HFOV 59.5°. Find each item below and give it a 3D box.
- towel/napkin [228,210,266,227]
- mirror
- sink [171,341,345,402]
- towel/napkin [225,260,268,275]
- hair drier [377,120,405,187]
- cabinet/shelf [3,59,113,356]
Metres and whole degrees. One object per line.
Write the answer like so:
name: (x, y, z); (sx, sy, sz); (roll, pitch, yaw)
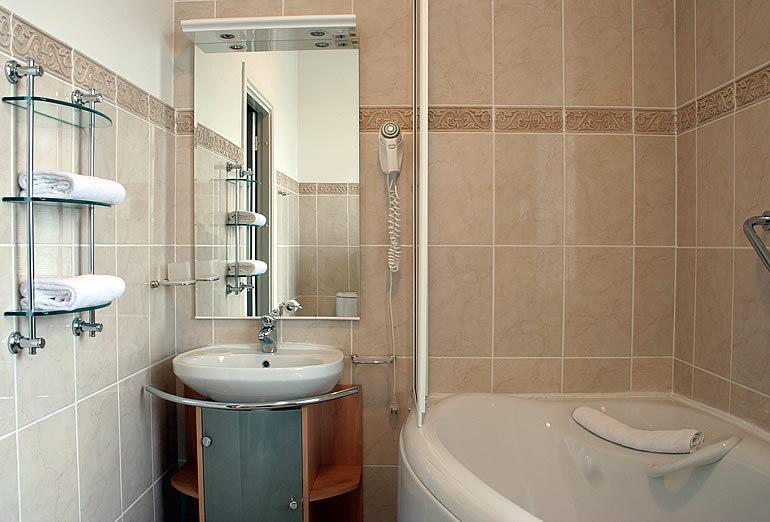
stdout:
towel/napkin: (-0.699, -0.212, 3.420); (0.118, 0.058, 0.106); (2, 1, 14)
mirror: (-0.543, -0.389, 3.393); (0.862, 1.341, 0.043); (-2, 0, 4)
sink: (-0.595, 0.537, 3.227); (0.793, 0.268, 0.375); (-2, 0, 1)
towel/napkin: (-0.704, 0.039, 3.419); (0.132, 0.054, 0.100); (1, -1, 5)
hair drier: (0.036, -0.621, 3.449); (0.119, 0.097, 0.383); (-3, -4, 2)
cabinet/shelf: (-1.290, -0.216, 2.698); (0.175, 1.269, 0.401); (-2, 1, 35)
